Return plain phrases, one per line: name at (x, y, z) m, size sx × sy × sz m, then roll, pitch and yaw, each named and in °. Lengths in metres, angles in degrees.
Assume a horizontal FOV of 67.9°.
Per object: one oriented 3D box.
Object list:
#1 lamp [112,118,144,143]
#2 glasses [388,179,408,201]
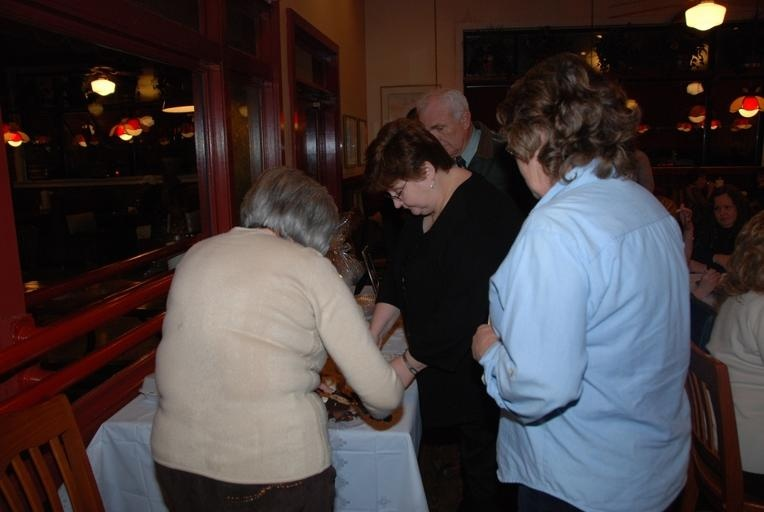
lamp at (-1.804, -0.899, 4.013) m, size 0.153 × 0.079 × 0.163 m, roll -8°, pitch 7°, yaw -33°
glasses at (0.065, -0.274, 2.321) m, size 0.021 × 0.070 × 0.066 m, roll 39°, pitch -22°, yaw -16°
